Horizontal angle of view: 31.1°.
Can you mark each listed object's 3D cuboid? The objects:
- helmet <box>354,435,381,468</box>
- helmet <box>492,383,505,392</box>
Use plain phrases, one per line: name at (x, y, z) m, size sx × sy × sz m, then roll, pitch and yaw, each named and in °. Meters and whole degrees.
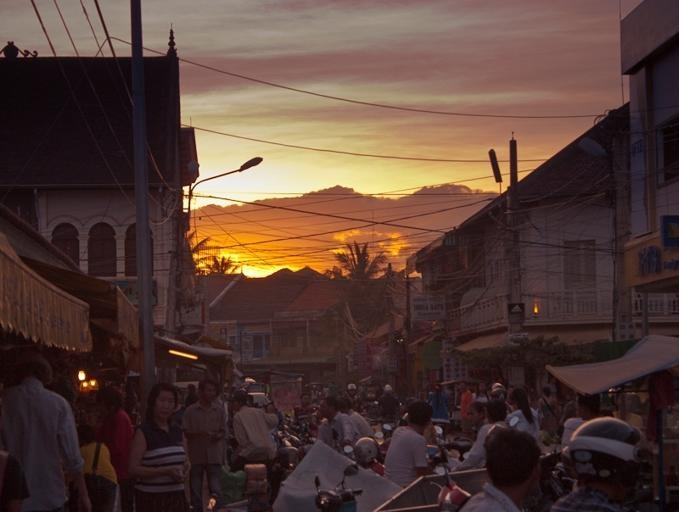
helmet at (0.418, 3.123, 19.540) m, size 0.368 × 0.492 × 0.480 m, roll -4°, pitch 19°, yaw -9°
helmet at (3.704, 3.016, 28.256) m, size 0.417 × 0.205 × 0.638 m, roll 0°, pitch -7°, yaw 1°
